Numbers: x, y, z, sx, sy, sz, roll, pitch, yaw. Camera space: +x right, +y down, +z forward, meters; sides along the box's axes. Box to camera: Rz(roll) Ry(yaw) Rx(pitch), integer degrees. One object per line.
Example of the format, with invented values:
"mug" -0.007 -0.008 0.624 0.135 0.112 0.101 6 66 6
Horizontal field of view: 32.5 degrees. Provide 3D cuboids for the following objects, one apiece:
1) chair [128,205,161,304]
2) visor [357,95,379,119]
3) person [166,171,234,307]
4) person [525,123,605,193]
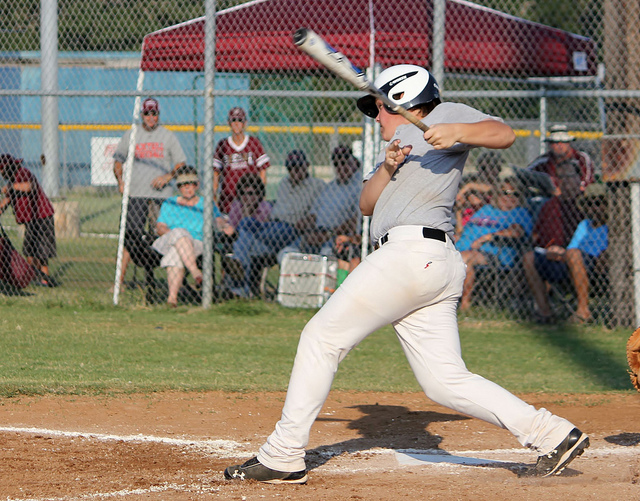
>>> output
"chair" -1.902 0.033 11.785 0.350 1.017 0.314 -2 14 -9
"visor" 0.333 -1.003 7.740 0.119 0.169 0.062 -15 16 26
"person" -1.420 -0.120 11.830 0.958 1.237 0.505 19 -39 -6
"person" 2.429 -0.928 11.138 0.962 0.649 0.491 7 14 36
